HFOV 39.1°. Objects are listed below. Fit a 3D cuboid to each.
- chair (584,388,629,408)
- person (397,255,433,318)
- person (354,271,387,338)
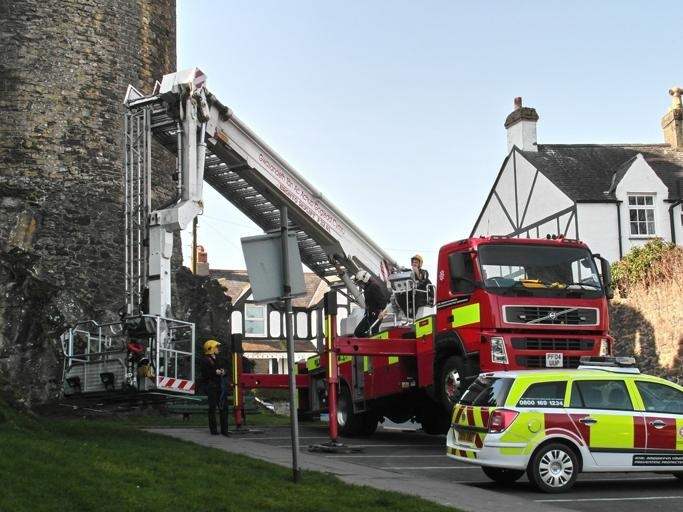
[{"bbox_3d":[4.758,2.578,17.256,0.378,0.253,0.573,5,-15,-33],"label":"chair"},{"bbox_3d":[1.730,0.689,22.428,0.576,1.474,0.728,7,-13,-33],"label":"person"},{"bbox_3d":[0.758,1.238,24.881,0.726,1.836,0.907,5,-30,-7],"label":"person"}]
